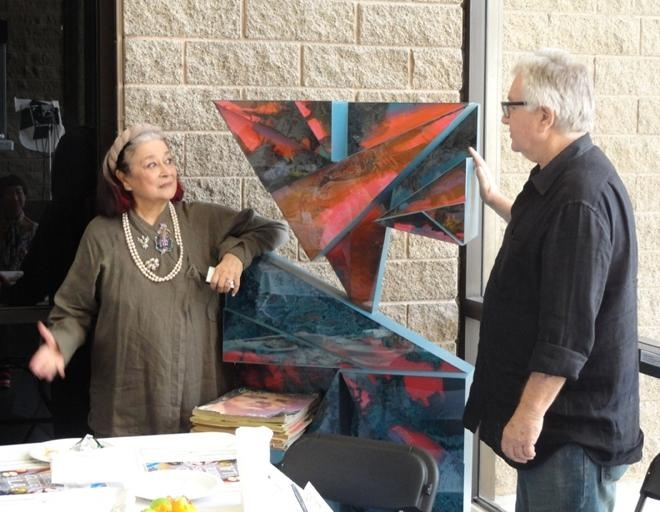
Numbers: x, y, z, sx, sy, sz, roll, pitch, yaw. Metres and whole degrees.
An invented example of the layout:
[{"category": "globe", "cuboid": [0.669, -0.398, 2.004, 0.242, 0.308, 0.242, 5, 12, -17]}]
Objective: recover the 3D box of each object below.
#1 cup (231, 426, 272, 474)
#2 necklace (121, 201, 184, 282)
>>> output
[{"category": "cup", "cuboid": [-0.193, 0.482, 2.264, 0.096, 0.196, 0.102, 0, -4, 0]}, {"category": "necklace", "cuboid": [-0.618, -0.049, 3.109, 0.209, 0.239, 0.149, -1, 14, -15]}]
